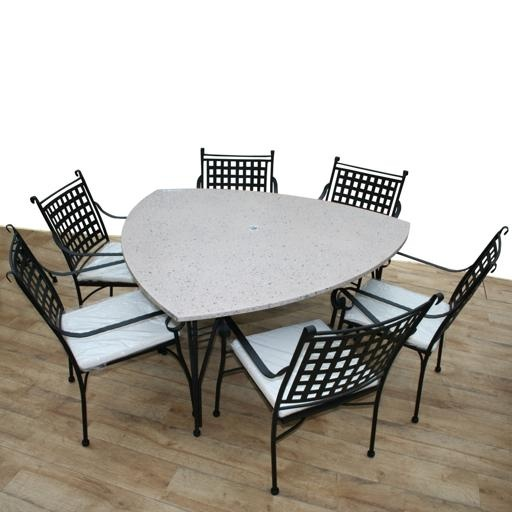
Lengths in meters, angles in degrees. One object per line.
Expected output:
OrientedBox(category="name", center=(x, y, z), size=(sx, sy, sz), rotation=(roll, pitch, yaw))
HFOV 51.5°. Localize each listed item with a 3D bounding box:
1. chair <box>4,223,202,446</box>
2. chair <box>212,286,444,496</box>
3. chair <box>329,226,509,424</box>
OrientedBox(category="chair", center=(-0.683, 0.393, 2.427), size=(0.698, 0.920, 0.529), rotation=(-20, 45, -25))
OrientedBox(category="chair", center=(0.228, 0.444, 2.202), size=(0.681, 0.842, 0.685), rotation=(-22, 38, -37))
OrientedBox(category="chair", center=(0.782, 0.362, 2.535), size=(0.643, 0.881, 0.553), rotation=(21, 42, 23))
